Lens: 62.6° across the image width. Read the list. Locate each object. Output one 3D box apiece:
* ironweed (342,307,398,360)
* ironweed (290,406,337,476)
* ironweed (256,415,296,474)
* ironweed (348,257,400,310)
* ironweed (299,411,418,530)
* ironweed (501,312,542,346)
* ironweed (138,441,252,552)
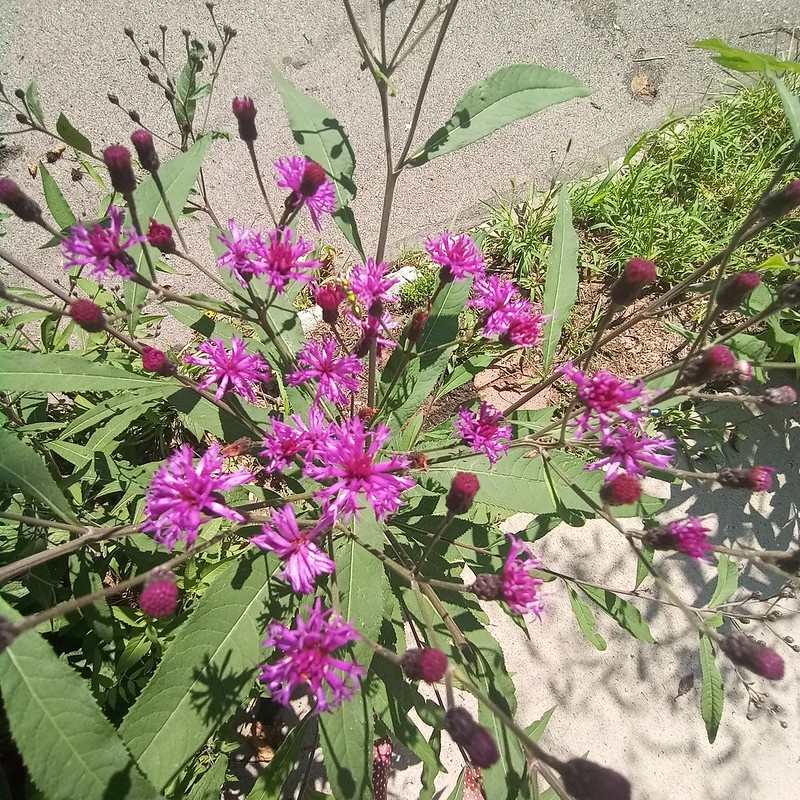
[{"bbox_3d":[-0.109,-0.268,2.380,0.197,0.116,0.173,-19,81,-20],"label":"ironweed"},{"bbox_3d":[-0.271,0.108,2.145,0.184,0.048,0.136,11,73,-50],"label":"ironweed"},{"bbox_3d":[-0.391,0.154,2.208,0.180,0.080,0.164,-18,80,5],"label":"ironweed"},{"bbox_3d":[-0.114,-0.426,2.364,0.165,0.160,0.175,6,37,15],"label":"ironweed"},{"bbox_3d":[-0.164,0.233,2.141,0.367,0.150,0.341,27,80,-6],"label":"ironweed"},{"bbox_3d":[0.431,-0.245,2.331,0.126,0.145,0.079,-14,26,-3],"label":"ironweed"},{"bbox_3d":[-0.606,0.277,1.970,0.325,0.159,0.265,1,34,5],"label":"ironweed"}]
